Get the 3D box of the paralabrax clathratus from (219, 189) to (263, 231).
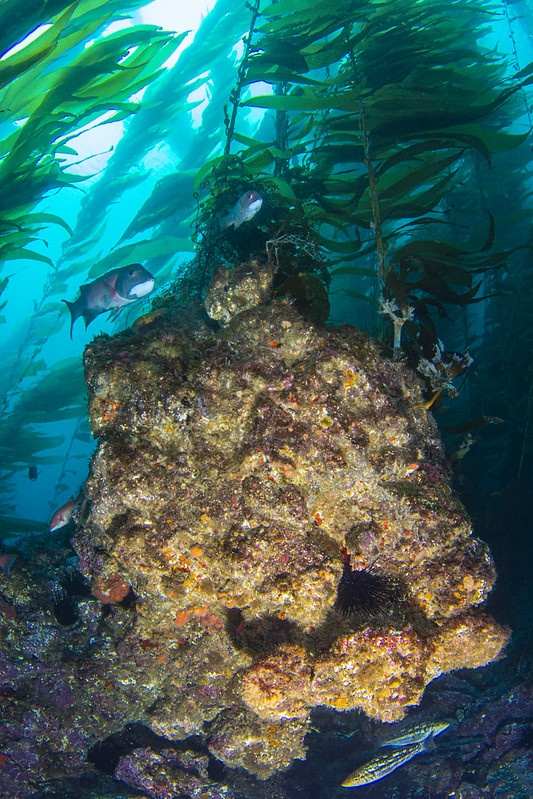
[{"bbox_3d":[-0.247,-1.801,7.860,0.466,0.363,0.154,4,33,34],"label":"paralabrax clathratus"}]
